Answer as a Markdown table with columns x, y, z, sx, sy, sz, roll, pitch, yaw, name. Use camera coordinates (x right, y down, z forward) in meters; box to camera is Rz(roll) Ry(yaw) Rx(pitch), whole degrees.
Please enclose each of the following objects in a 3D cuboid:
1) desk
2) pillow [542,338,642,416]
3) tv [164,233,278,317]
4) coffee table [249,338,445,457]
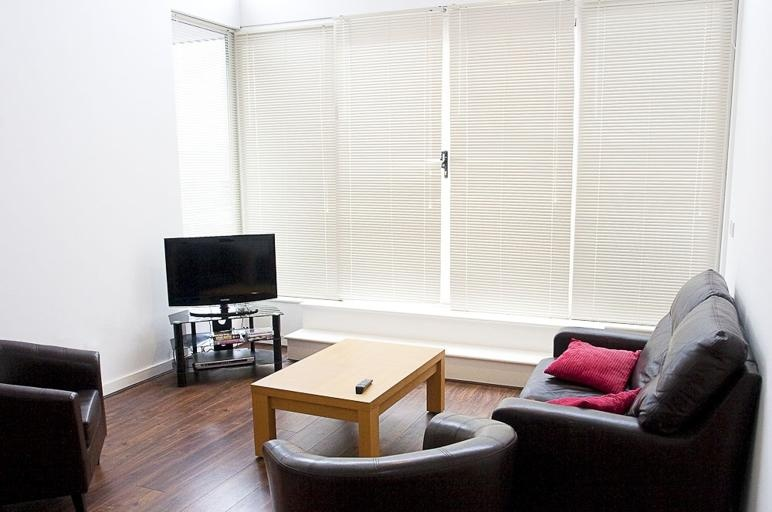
| x | y | z | sx | sy | sz | roll | pitch | yaw | name |
| --- | --- | --- | --- | --- | --- | --- | --- | --- | --- |
| -1.551 | 0.859 | 5.407 | 1.009 | 0.517 | 0.472 | -3 | 8 | -24 | desk |
| 1.395 | 0.794 | 3.746 | 0.405 | 0.136 | 0.495 | -9 | 14 | 26 | pillow |
| -1.611 | 0.180 | 5.333 | 1.030 | 0.568 | 0.097 | -1 | 4 | -16 | tv |
| -0.389 | 0.923 | 4.043 | 0.925 | 0.411 | 1.239 | 3 | 8 | 26 | coffee table |
